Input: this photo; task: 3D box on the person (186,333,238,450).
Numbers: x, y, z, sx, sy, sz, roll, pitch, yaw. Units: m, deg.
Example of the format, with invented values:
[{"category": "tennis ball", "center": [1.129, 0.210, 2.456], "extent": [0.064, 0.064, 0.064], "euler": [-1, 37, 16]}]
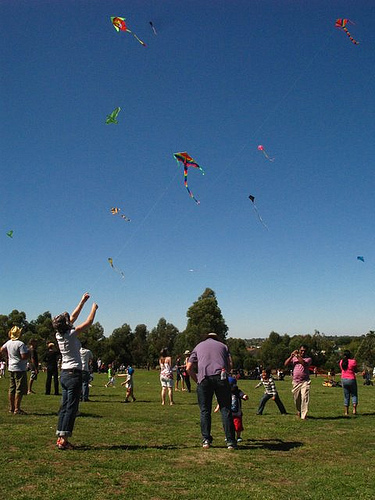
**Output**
[{"category": "person", "center": [0.392, 2.311, 8.130], "extent": [0.830, 1.690, 0.500], "euler": [0, -14, 8]}]

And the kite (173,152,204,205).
[{"category": "kite", "center": [-0.068, -1.963, 13.595], "extent": [1.075, 1.254, 0.922], "euler": [0, -4, -21]}]

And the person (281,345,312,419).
[{"category": "person", "center": [2.652, 3.093, 11.832], "extent": [0.486, 1.665, 0.718], "euler": [6, -14, -16]}]
